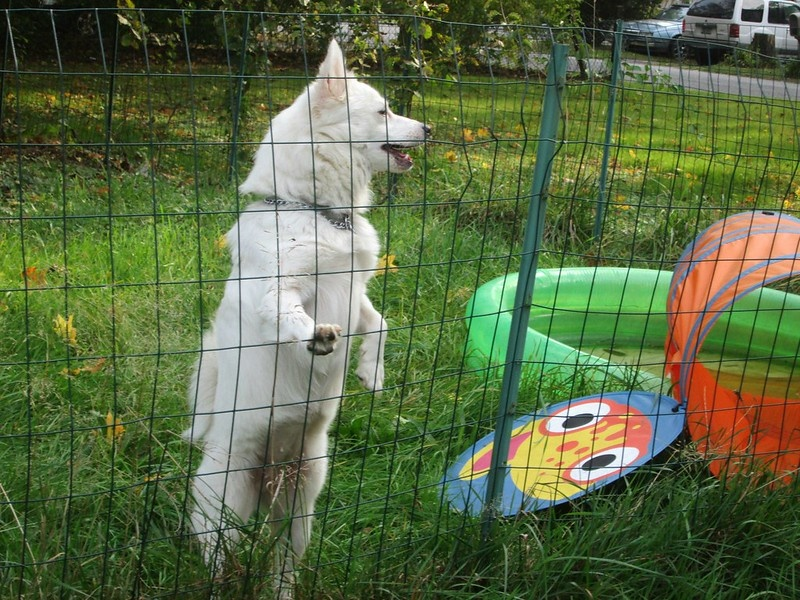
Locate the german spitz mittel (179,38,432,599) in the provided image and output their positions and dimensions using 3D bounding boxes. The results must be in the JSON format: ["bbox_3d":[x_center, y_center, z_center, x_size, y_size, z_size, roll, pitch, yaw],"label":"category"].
[{"bbox_3d":[-0.220,0.319,5.628,1.540,3.408,2.031,0,23,-9],"label":"german spitz mittel"}]

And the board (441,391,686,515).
[{"bbox_3d":[1.141,1.030,5.923,1.722,0.224,1.294,-19,17,0],"label":"board"}]
